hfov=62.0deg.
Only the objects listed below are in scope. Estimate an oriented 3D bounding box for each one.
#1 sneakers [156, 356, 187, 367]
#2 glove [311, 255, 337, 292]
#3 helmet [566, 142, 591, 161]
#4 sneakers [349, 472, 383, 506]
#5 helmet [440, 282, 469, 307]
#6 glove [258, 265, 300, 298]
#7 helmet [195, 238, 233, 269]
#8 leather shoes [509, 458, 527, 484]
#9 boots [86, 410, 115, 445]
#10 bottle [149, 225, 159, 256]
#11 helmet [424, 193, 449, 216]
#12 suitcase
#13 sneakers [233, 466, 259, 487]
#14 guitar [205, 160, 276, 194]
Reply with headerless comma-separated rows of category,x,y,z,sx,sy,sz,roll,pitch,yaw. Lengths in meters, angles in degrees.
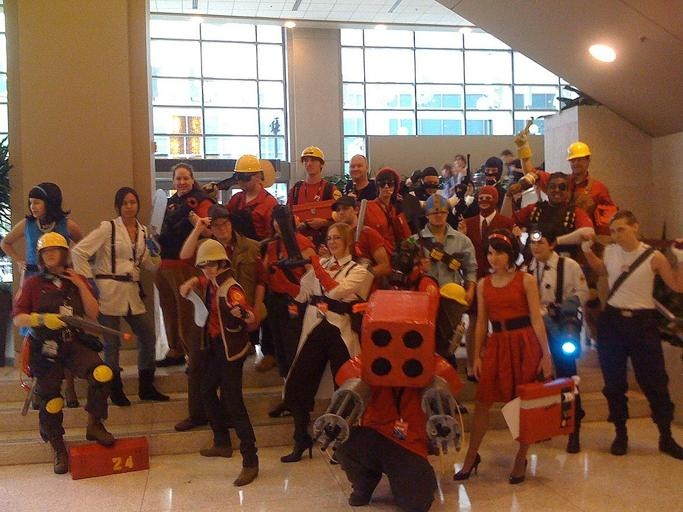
sneakers,-2.105,1.304,7.135,0.399,0.181,0.138,3,-3,-13
glove,-0.171,0.153,5.200,0.248,0.343,0.252,-1,7,-6
helmet,3.026,-1.344,7.290,0.275,0.193,0.353,2,11,43
sneakers,0.189,2.017,4.928,0.202,0.488,0.152,7,34,-11
helmet,0.943,0.325,4.870,0.235,0.178,0.228,1,8,8
glove,-0.686,0.253,6.163,0.401,0.405,0.296,-1,12,15
helmet,-1.251,-0.030,5.467,0.294,0.244,0.191,-2,8,-15
leather shoes,1.659,1.952,5.387,0.156,0.296,0.303,2,8,18
boots,-2.389,1.697,5.661,0.310,0.317,0.141,12,19,4
bottle,-2.154,-0.194,6.500,0.101,0.303,0.215,-5,-16,2
helmet,1.032,-0.577,6.222,0.184,0.272,0.228,-2,21,9
suitcase,1.797,1.358,5.131,0.654,0.626,0.301,-3,2,-30
sneakers,-0.896,2.058,5.319,0.097,0.123,0.285,-8,-14,26
guitar,-1.258,-0.975,7.254,0.738,0.389,0.497,-19,18,-21
